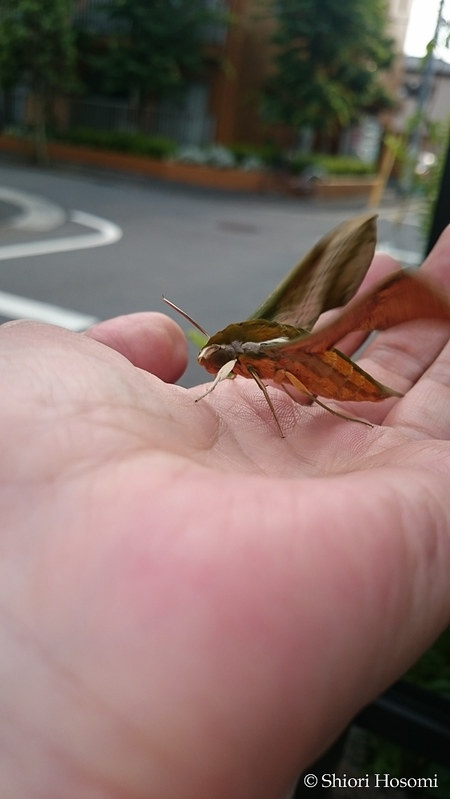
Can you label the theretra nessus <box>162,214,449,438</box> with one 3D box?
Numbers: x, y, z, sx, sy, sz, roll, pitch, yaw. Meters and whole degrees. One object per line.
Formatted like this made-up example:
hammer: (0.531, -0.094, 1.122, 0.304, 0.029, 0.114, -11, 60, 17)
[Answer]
theretra nessus: (0.037, -0.018, 0.281, 0.132, 0.085, 0.114, 5, 14, -10)
